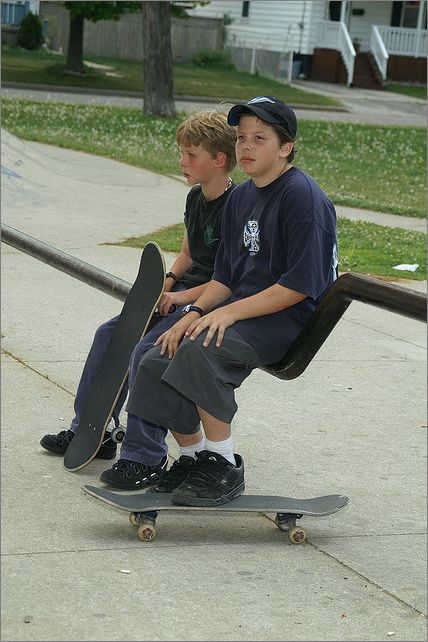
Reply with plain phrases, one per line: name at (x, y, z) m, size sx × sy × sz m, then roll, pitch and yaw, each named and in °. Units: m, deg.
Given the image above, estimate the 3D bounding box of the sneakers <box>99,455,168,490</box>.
sneakers at (-0.299, 0.567, 2.839) m, size 0.274 × 0.105 × 0.091 m, roll 6°, pitch 10°, yaw -30°

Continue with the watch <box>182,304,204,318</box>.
watch at (-0.078, -0.040, 2.697) m, size 0.060 × 0.020 × 0.058 m, roll 19°, pitch -6°, yaw -35°

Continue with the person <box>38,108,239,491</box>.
person at (-0.247, -0.051, 2.968) m, size 0.951 × 1.402 × 0.577 m, roll -8°, pitch 22°, yaw -24°

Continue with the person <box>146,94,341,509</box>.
person at (0.098, -0.081, 2.554) m, size 0.533 × 1.373 × 0.633 m, roll 10°, pitch 10°, yaw 16°

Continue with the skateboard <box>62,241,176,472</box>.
skateboard at (-0.374, 0.167, 2.885) m, size 0.184 × 1.032 × 0.273 m, roll 21°, pitch 2°, yaw -24°

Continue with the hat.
hat at (0.173, -0.702, 2.582) m, size 0.221 × 0.101 × 0.143 m, roll 25°, pitch 6°, yaw -27°
